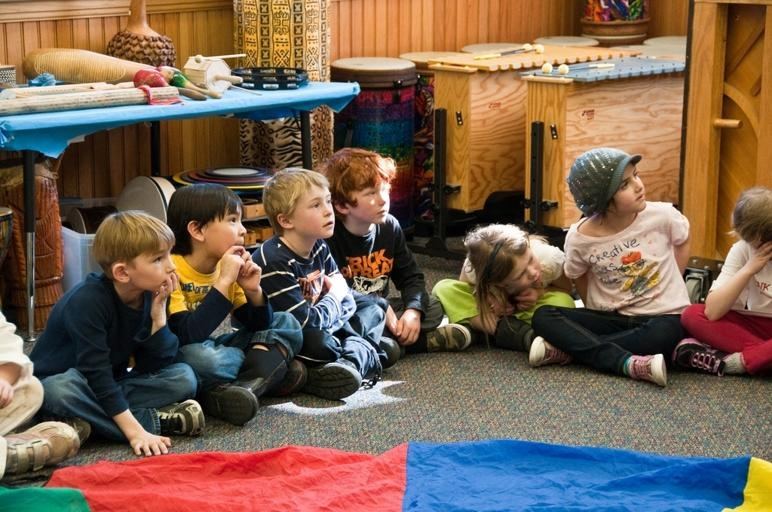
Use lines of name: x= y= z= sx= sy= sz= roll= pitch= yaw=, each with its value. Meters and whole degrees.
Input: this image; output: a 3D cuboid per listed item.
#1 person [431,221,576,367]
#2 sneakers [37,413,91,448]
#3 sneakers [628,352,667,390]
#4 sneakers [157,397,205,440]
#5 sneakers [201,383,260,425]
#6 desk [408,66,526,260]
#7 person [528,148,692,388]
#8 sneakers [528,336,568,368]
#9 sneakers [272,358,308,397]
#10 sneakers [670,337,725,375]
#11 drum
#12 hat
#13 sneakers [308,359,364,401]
person: x=0.452 y=0.132 z=2.451 sx=0.520 sy=0.448 sz=0.716 roll=-1 pitch=13 yaw=5
sneakers: x=-0.888 y=0.473 z=1.766 sx=0.156 sy=0.055 sz=0.065 roll=2 pitch=24 yaw=-13
sneakers: x=0.865 y=0.365 z=2.159 sx=0.129 sy=0.098 sz=0.107 roll=6 pitch=15 yaw=29
sneakers: x=-0.581 y=0.469 z=1.845 sx=0.153 sy=0.067 sz=0.066 roll=-2 pitch=17 yaw=19
sneakers: x=-0.454 y=0.435 z=1.959 sx=0.201 sy=0.079 sz=0.087 roll=14 pitch=11 yaw=22
desk: x=0.532 y=-0.557 z=3.646 sx=0.498 sy=0.961 sz=1.022 roll=7 pitch=15 yaw=30
person: x=0.778 y=0.012 z=2.250 sx=0.541 sy=0.723 sz=0.685 roll=-1 pitch=10 yaw=21
sneakers: x=0.566 y=0.335 z=2.272 sx=0.147 sy=0.104 sz=0.048 roll=-6 pitch=14 yaw=-22
sneakers: x=-0.301 y=0.396 z=2.065 sx=0.077 sy=0.130 sz=0.085 roll=9 pitch=-5 yaw=2
sneakers: x=1.043 y=0.333 z=2.203 sx=0.201 sy=0.073 sz=0.084 roll=10 pitch=17 yaw=-9
drum: x=-0.045 y=-0.692 z=3.857 sx=0.948 sy=1.208 sz=0.826 roll=-7 pitch=16 yaw=-20
hat: x=0.791 y=-0.281 z=2.311 sx=0.142 sy=0.260 sz=0.208 roll=43 pitch=34 yaw=24
sneakers: x=-0.166 y=0.390 z=2.085 sx=0.200 sy=0.085 sz=0.085 roll=7 pitch=9 yaw=24
